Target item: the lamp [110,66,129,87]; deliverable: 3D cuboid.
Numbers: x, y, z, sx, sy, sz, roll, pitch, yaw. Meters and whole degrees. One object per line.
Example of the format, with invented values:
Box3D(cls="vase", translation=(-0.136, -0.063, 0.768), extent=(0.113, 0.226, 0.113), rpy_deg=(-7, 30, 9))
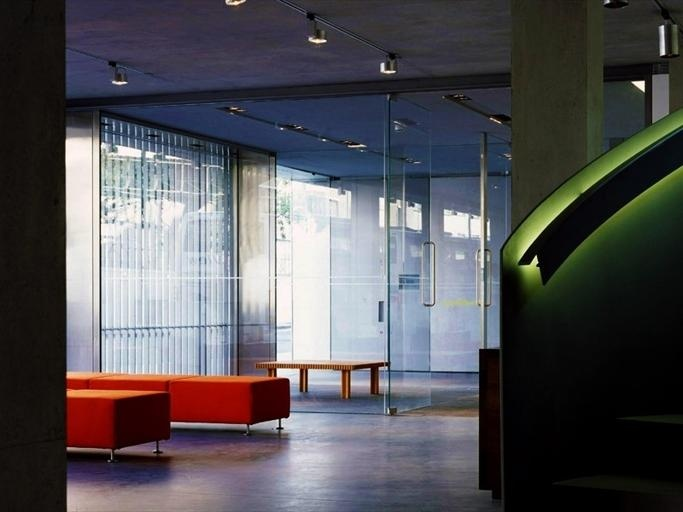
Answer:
Box3D(cls="lamp", translation=(-2.278, -1.847, 8.970), extent=(0.203, 0.213, 0.196), rpy_deg=(0, 3, 7))
